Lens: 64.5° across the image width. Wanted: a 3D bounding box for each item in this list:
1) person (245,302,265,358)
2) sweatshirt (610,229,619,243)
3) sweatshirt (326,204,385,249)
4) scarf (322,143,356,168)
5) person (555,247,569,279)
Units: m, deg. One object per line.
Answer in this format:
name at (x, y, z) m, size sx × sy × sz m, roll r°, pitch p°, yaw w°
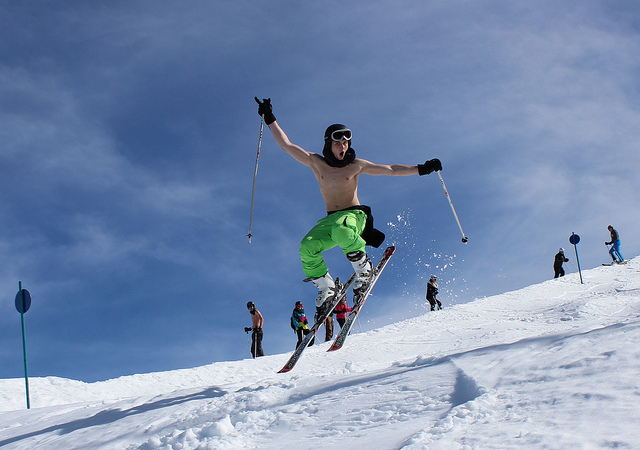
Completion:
person at (-1.680, 2.683, 13.062) m, size 0.414 × 1.394 × 1.465 m, roll -6°, pitch -9°, yaw -9°
sweatshirt at (9.831, 0.411, 16.991) m, size 0.155 × 0.596 × 0.336 m, roll 0°, pitch -13°, yaw -3°
sweatshirt at (0.695, 0.123, 7.993) m, size 0.807 × 0.418 × 0.668 m, roll 19°, pitch -60°, yaw -14°
scarf at (0.292, -1.103, 7.912) m, size 0.470 × 0.408 × 0.216 m, roll -8°, pitch -9°, yaw 2°
person at (8.813, 1.421, 18.717) m, size 0.517 × 1.048 × 1.702 m, roll -11°, pitch -10°, yaw 24°
